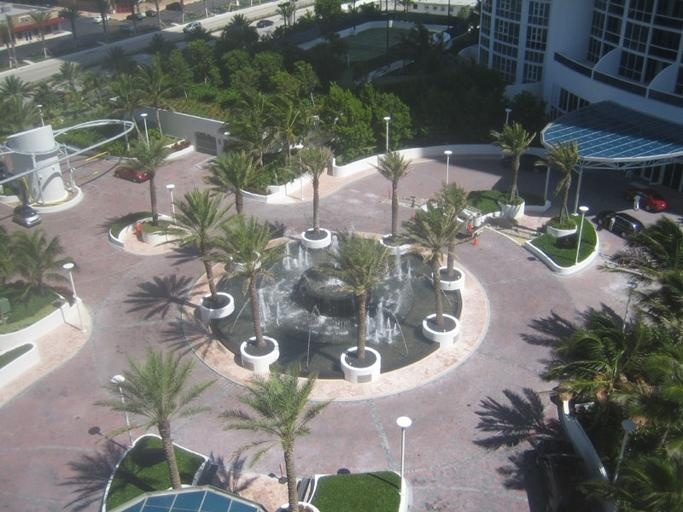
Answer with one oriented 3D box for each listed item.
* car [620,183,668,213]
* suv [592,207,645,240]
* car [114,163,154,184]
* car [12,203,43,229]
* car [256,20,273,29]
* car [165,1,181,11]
[{"bbox_3d":[26.364,-4.781,52.727,3.332,1.381,2.098,15,33,30],"label":"car"},{"bbox_3d":[22.259,-2.479,49.073,1.622,1.262,2.951,-27,45,-26],"label":"suv"},{"bbox_3d":[-18.990,-7.488,56.171,3.232,1.074,2.111,20,37,18],"label":"car"},{"bbox_3d":[-28.024,-3.201,54.535,2.615,1.483,1.648,24,49,32],"label":"car"},{"bbox_3d":[-14.663,-44.357,117.032,1.543,1.013,2.958,21,38,33],"label":"car"},{"bbox_3d":[-35.816,-53.267,130.366,2.892,1.629,2.463,-21,33,-29],"label":"car"}]
